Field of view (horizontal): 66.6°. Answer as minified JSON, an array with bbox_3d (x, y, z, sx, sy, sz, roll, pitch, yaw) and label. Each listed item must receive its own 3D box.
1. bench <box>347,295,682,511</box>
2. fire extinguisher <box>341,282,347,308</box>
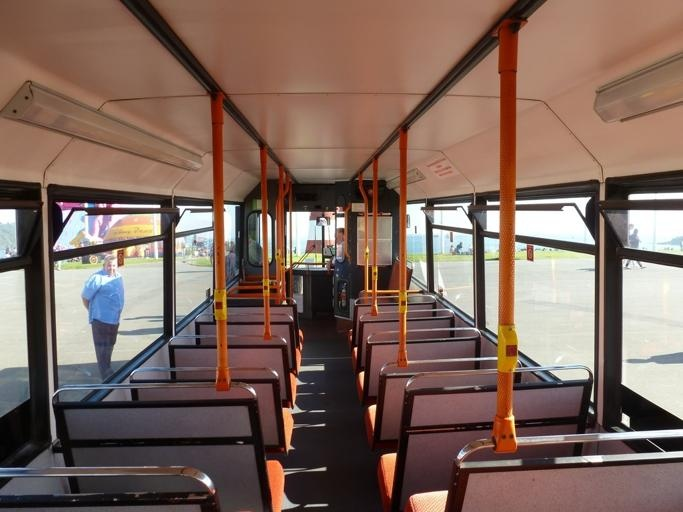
[{"bbox_3d":[1.038,1.214,4.683,1.528,1.435,1.363,-1,4,-12],"label":"bench"},{"bbox_3d":[0.063,0.827,10.969,0.143,0.527,0.052,1,0,30],"label":"fire extinguisher"}]
